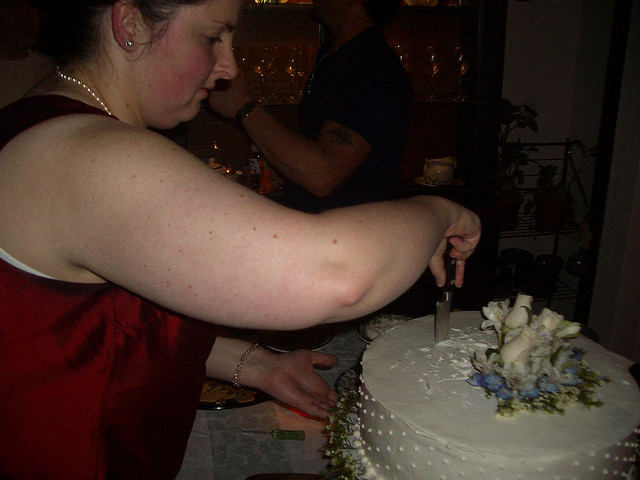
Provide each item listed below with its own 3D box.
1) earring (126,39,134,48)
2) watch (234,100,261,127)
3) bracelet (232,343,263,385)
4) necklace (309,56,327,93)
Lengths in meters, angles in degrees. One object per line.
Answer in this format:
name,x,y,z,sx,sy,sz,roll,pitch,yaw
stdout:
earring,-0.309,-0.319,0.827,0.011,0.011,0.011,0,10,-20
watch,-0.273,-0.479,1.901,0.088,0.089,0.048,3,10,-4
bracelet,-0.188,0.322,1.327,0.035,0.019,0.112,30,55,8
necklace,-0.020,-0.682,2.120,0.049,0.137,0.201,2,9,-9
